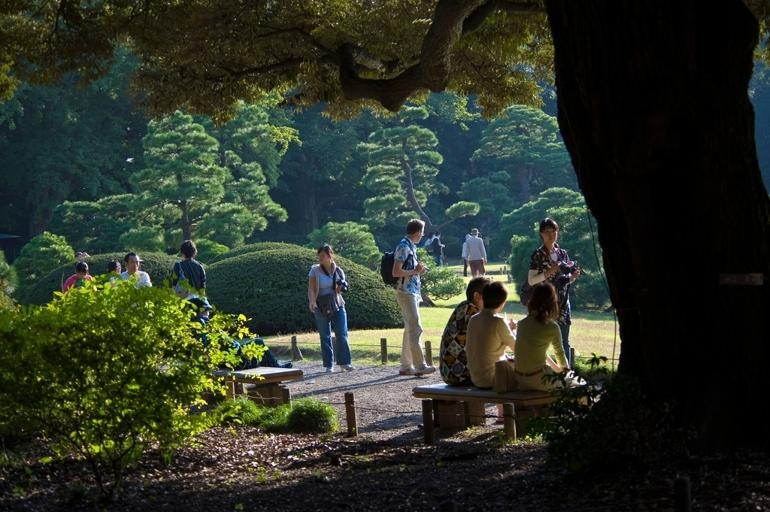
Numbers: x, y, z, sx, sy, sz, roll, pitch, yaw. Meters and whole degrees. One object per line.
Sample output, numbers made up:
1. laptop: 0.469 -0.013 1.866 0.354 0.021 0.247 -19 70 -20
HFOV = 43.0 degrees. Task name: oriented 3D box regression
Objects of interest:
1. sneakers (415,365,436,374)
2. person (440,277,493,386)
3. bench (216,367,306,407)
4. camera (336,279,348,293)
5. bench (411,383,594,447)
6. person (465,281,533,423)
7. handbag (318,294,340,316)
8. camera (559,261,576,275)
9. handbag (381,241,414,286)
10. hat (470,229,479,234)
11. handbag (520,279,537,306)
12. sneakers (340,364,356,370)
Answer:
1. sneakers: 0.588 1.618 13.887 0.293 0.139 0.111 -10 -7 27
2. person: 0.984 0.834 11.114 0.768 1.235 0.770 4 5 -9
3. bench: -1.514 1.603 11.950 0.972 0.472 2.060 -3 -2 -16
4. camera: -0.639 0.442 14.505 0.118 0.209 0.209 2 -14 5
5. bench: 1.168 1.643 10.151 1.103 0.429 1.961 -2 -3 -34
6. person: 1.219 1.057 10.750 0.565 1.549 0.825 9 8 43
7. handbag: -0.852 0.723 14.360 0.303 0.343 0.122 -3 -2 -1
8. camera: 2.209 0.143 11.844 0.155 0.053 0.160 -6 30 -10
9. handbag: 0.072 0.171 13.885 0.575 0.631 0.414 2 3 10
10. hat: 2.303 -0.627 25.163 0.295 0.128 0.349 2 2 14
11. handbag: 1.746 0.450 12.064 0.229 0.299 0.118 11 -2 -42
12. sneakers: -0.589 1.715 15.159 0.193 0.108 0.084 -1 6 -6
